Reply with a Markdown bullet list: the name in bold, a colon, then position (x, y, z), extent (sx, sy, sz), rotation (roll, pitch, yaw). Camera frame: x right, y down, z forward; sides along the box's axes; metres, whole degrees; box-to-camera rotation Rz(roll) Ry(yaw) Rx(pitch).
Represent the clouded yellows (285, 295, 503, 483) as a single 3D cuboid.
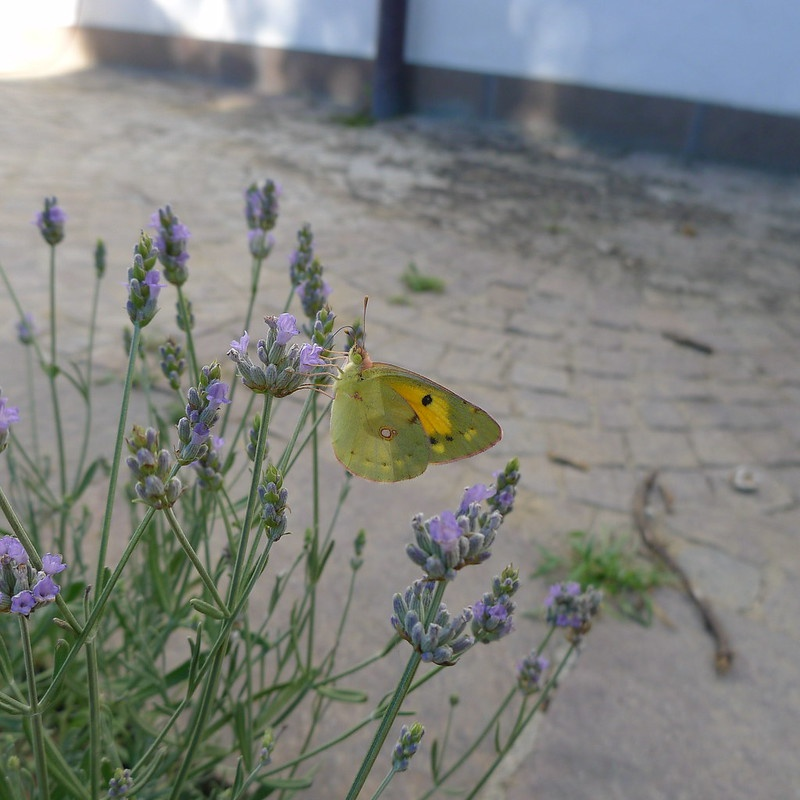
- **clouded yellows**: position (0.036, -0.026, 1.651), extent (0.392, 0.364, 0.268), rotation (-3, 42, 42)
